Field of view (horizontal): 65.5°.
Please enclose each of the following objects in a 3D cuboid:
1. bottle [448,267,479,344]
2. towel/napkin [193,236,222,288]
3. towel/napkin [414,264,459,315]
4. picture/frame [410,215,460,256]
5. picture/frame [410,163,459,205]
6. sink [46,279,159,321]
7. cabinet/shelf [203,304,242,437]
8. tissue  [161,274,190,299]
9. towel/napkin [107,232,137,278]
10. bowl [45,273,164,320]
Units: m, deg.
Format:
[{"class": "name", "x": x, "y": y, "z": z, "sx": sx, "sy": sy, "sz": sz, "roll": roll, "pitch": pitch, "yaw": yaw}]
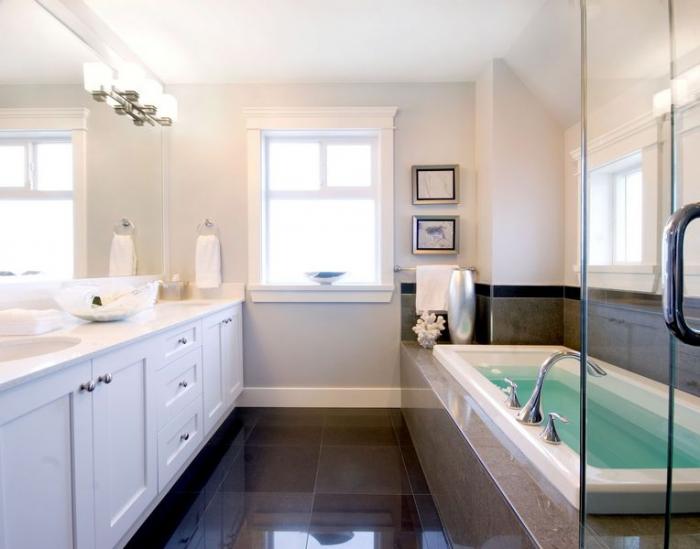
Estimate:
[{"class": "bottle", "x": 0.718, "y": 0.199, "z": 3.509, "sx": 0.188, "sy": 0.471, "sz": 0.180, "roll": 0, "pitch": 9, "yaw": 0}, {"class": "towel/napkin", "x": -0.962, "y": -0.086, "z": 3.663, "sx": 0.155, "sy": 0.327, "sz": 0.103, "roll": -3, "pitch": 9, "yaw": -17}, {"class": "towel/napkin", "x": 0.576, "y": 0.103, "z": 3.585, "sx": 0.285, "sy": 0.331, "sz": 0.090, "roll": -1, "pitch": 0, "yaw": 5}, {"class": "picture/frame", "x": 0.583, "y": -0.270, "z": 3.705, "sx": 0.231, "sy": 0.223, "sz": 0.018, "roll": 0, "pitch": 2, "yaw": 2}, {"class": "picture/frame", "x": 0.576, "y": -0.613, "z": 3.694, "sx": 0.238, "sy": 0.229, "sz": 0.019, "roll": 0, "pitch": 0, "yaw": 1}, {"class": "sink", "x": -1.273, "y": 0.102, "z": 2.855, "sx": 0.447, "sy": 0.204, "sz": 0.738, "roll": -5, "pitch": 11, "yaw": -26}, {"class": "cabinet/shelf", "x": -0.768, "y": 0.572, "z": 3.231, "sx": 0.253, "sy": 0.639, "sz": 0.695, "roll": -1, "pitch": 3, "yaw": -3}, {"class": "tissue ", "x": -1.151, "y": 0.086, "z": 3.628, "sx": 0.167, "sy": 0.165, "sz": 0.133, "roll": 2, "pitch": 2, "yaw": 35}, {"class": "towel/napkin", "x": -1.369, "y": -0.099, "z": 3.203, "sx": 0.166, "sy": 0.245, "sz": 0.170, "roll": 2, "pitch": -6, "yaw": 9}, {"class": "bowl", "x": -1.167, "y": 0.123, "z": 2.644, "sx": 0.235, "sy": 0.124, "sz": 0.296, "roll": 4, "pitch": 5, "yaw": 0}]
